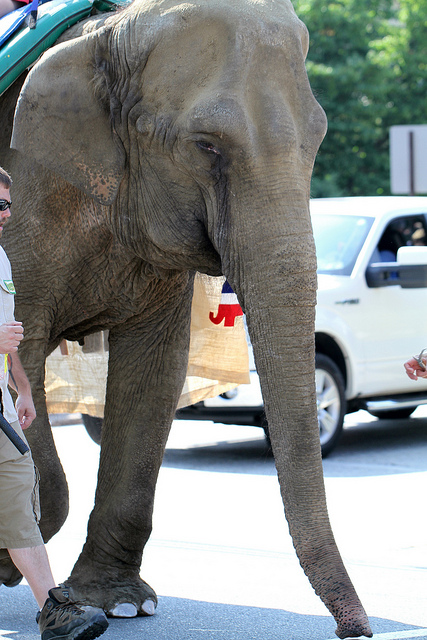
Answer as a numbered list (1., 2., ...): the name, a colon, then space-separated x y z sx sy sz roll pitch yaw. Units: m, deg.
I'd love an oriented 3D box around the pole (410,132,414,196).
1. pole: 2.375 -1.881 10.158 0.044 0.729 0.106 0 0 13
